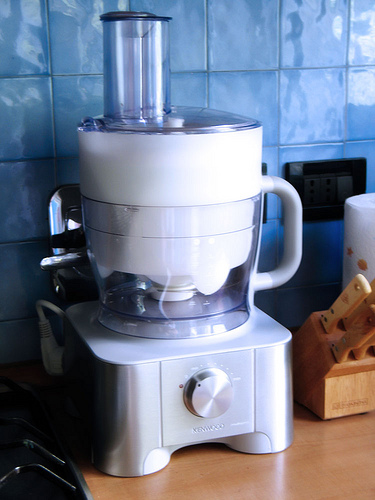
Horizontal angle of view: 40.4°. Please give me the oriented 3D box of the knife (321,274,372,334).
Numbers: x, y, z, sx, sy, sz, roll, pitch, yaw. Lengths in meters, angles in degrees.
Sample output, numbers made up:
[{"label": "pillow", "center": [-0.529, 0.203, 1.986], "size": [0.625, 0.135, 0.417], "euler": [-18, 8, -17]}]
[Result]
[{"label": "knife", "center": [0.212, 0.070, 0.676], "size": [0.030, 0.139, 0.043], "euler": [-16, 56, -15]}]
